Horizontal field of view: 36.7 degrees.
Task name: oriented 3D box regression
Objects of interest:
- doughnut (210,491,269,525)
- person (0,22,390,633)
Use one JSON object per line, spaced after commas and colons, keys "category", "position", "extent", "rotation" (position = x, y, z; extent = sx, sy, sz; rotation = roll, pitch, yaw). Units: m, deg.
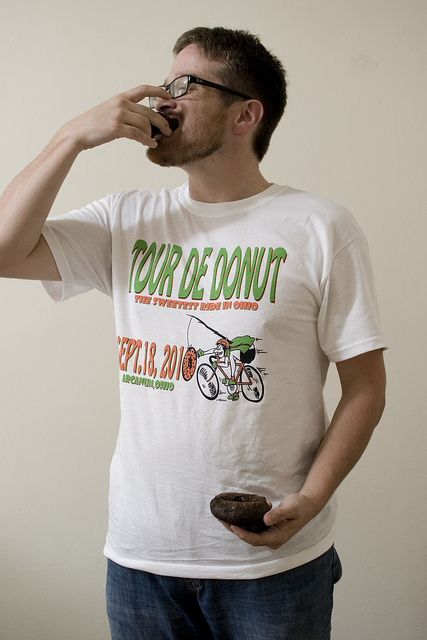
{"category": "doughnut", "position": [0.049, 0.358, 1.224], "extent": [0.098, 0.046, 0.106], "rotation": [7, -6, -24]}
{"category": "person", "position": [-0.024, -0.001, 1.421], "extent": [0.791, 1.358, 0.370], "rotation": [4, -6, 14]}
